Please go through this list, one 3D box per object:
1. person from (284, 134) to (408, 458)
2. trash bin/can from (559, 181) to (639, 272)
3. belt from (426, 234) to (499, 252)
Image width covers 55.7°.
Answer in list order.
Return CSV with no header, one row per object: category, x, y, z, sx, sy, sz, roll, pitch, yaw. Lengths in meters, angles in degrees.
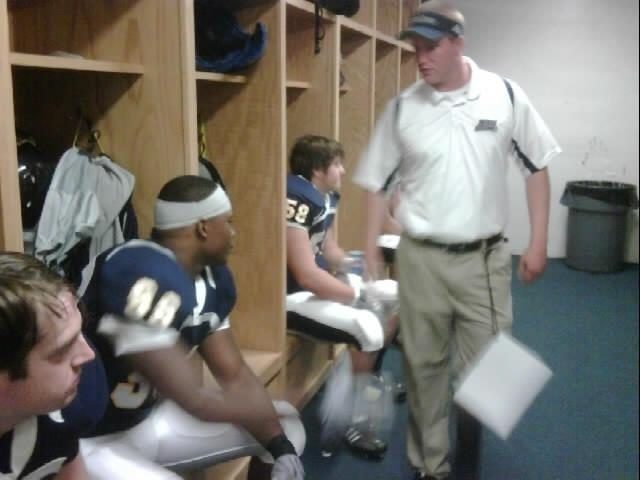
person,0.050,0.145,1.876,0.413,0.883,0.269,9,11,28
trash bin/can,0.501,-0.039,1.162,0.135,0.185,0.151,-1,6,-23
belt,0.273,0.005,1.163,0.155,0.044,0.008,4,9,23
